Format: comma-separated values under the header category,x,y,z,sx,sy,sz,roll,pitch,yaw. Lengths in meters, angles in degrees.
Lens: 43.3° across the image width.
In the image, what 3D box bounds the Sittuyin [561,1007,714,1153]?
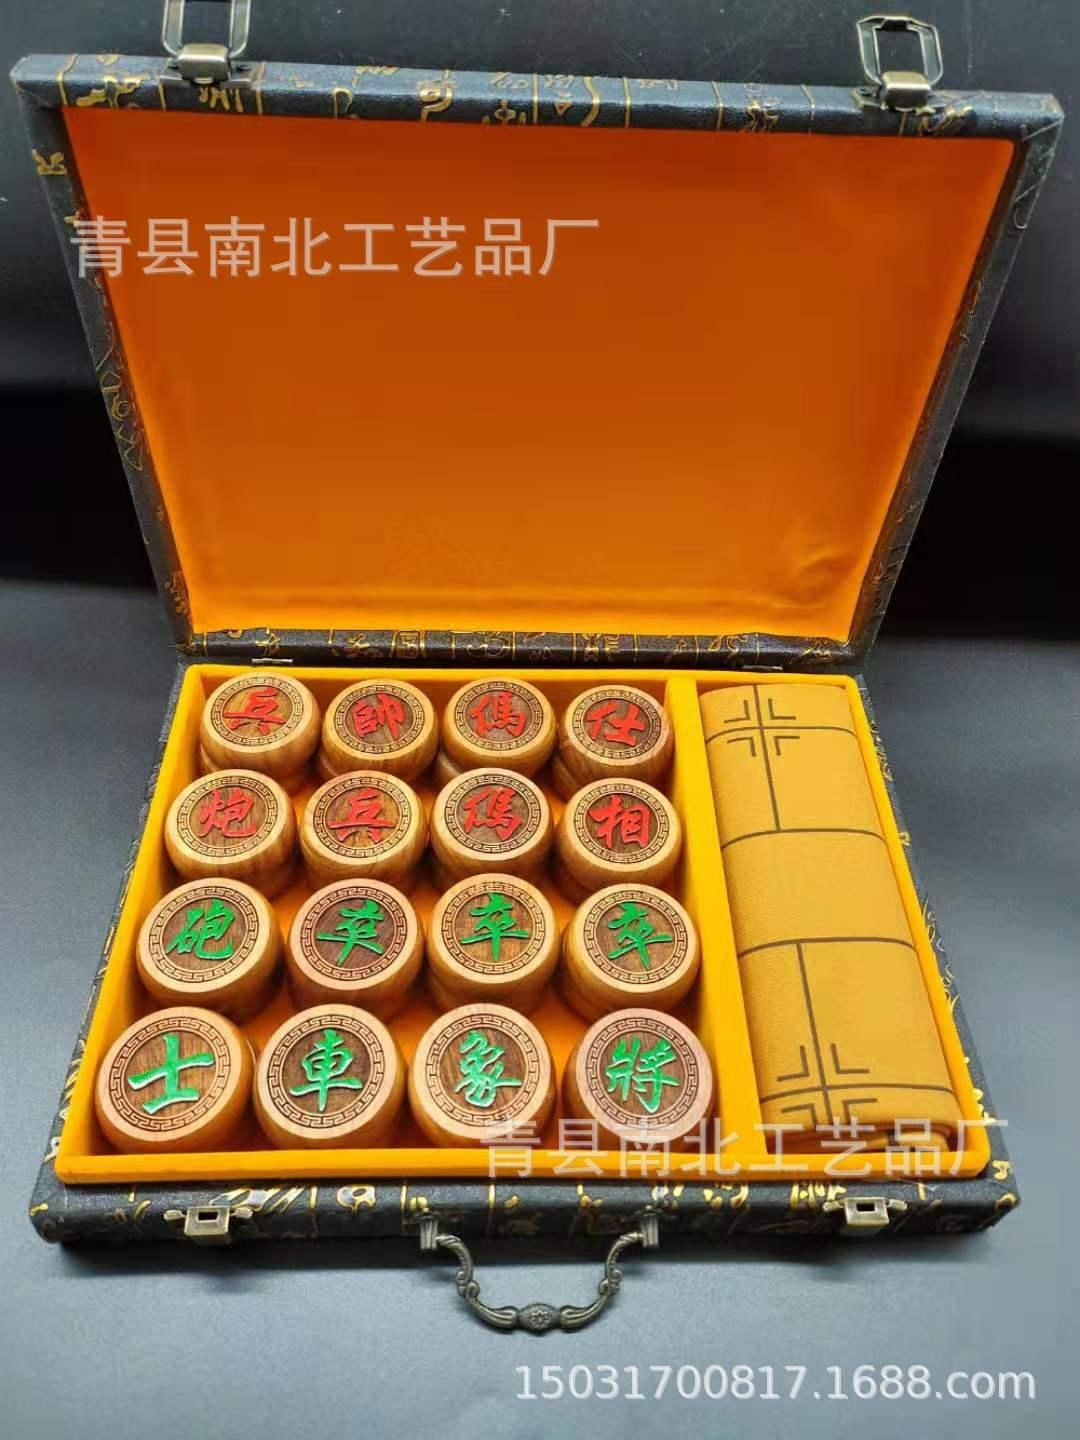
category,x,y,z,sx,sy,sz,roll,pitch,yaw
Sittuyin,0.115,0.422,1.581,0.160,0.048,0.179,4,45,3

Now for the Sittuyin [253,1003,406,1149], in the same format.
category,x,y,z,sx,sy,sz,roll,pitch,yaw
Sittuyin,-0.235,0.403,1.541,0.150,0.046,0.135,-1,54,-4

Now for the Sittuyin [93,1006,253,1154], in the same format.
category,x,y,z,sx,sy,sz,roll,pitch,yaw
Sittuyin,-0.412,0.412,1.545,0.159,0.054,0.169,-5,45,-6

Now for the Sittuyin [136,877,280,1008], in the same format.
category,x,y,z,sx,sy,sz,roll,pitch,yaw
Sittuyin,-0.396,0.271,1.655,0.160,0.086,0.143,-1,58,-6

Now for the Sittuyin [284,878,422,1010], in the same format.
category,x,y,z,sx,sy,sz,roll,pitch,yaw
Sittuyin,-0.225,0.281,1.670,0.186,0.080,0.171,-5,33,-2
